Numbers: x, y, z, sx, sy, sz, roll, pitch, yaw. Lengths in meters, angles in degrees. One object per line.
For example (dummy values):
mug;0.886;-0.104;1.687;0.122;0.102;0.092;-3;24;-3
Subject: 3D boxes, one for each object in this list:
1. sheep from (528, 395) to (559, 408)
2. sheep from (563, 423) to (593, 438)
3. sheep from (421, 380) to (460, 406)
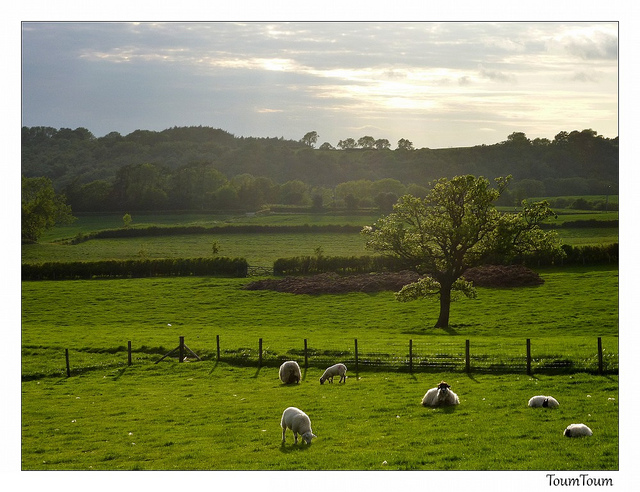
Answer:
sheep;17.251;12.122;73.887;1.712;0.897;1.001;0;9;2
sheep;18.909;13.715;70.069;1.741;0.922;0.989;1;1;-6
sheep;9.378;11.793;75.294;1.866;1.176;2.406;0;-17;0
